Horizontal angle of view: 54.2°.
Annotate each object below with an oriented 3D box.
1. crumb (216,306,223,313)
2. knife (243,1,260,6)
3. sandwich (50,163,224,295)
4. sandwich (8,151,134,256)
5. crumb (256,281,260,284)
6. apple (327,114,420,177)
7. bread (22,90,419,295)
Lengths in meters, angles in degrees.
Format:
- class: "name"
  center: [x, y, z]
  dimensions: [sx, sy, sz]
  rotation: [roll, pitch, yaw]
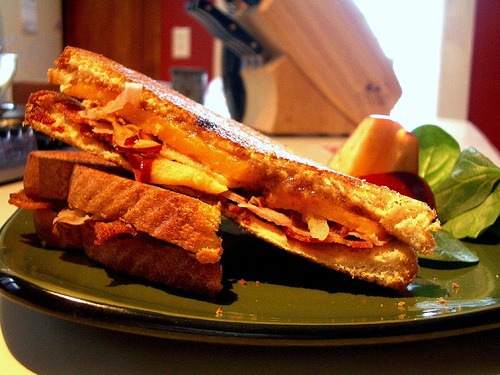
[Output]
- class: "crumb"
  center: [-0.052, 0.213, 0.848]
  dimensions: [0.005, 0.010, 0.006]
  rotation: [-6, 27, -21]
- class: "knife"
  center: [0.013, -0.793, 2.096]
  dimensions: [0.041, 0.010, 0.044]
  rotation: [-9, -12, 39]
- class: "sandwich"
  center: [-0.216, 0.081, 0.987]
  dimensions: [0.285, 0.103, 0.284]
  rotation: [13, 5, -4]
- class: "sandwich"
  center: [-0.384, 0.023, 1.098]
  dimensions: [0.253, 0.092, 0.253]
  rotation: [9, 11, -4]
- class: "crumb"
  center: [0.017, 0.187, 0.956]
  dimensions: [0.007, 0.004, 0.009]
  rotation: [12, 4, -5]
- class: "apple"
  center: [0.362, -0.089, 1.396]
  dimensions: [0.188, 0.184, 0.184]
  rotation: [28, 6, 38]
- class: "bread"
  center: [-0.071, 0.021, 1.005]
  dimensions: [0.780, 0.085, 0.403]
  rotation: [26, -5, -5]
